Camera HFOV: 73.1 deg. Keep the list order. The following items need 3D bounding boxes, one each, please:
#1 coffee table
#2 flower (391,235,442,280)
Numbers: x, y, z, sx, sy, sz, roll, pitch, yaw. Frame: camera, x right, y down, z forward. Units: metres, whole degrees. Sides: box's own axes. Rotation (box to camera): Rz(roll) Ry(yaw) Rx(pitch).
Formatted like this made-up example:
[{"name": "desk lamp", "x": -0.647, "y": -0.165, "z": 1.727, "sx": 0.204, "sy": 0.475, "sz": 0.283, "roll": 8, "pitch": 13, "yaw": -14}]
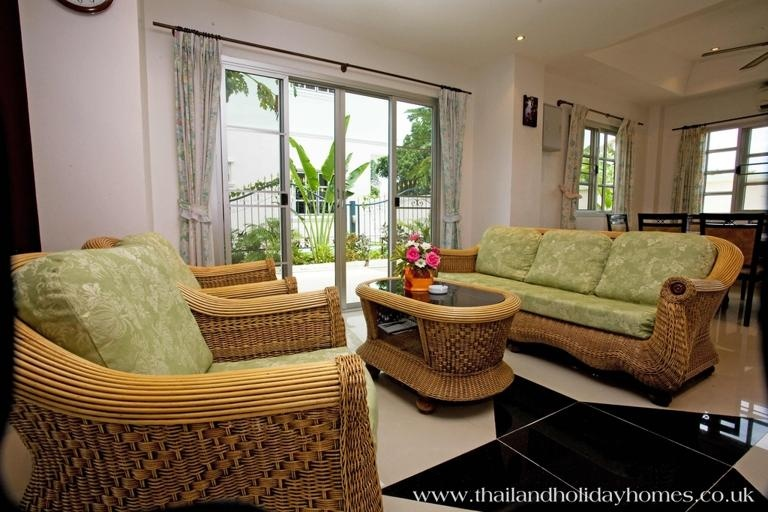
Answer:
[{"name": "coffee table", "x": 0.382, "y": 0.340, "z": 3.707, "sx": 0.853, "sy": 0.665, "sz": 1.252, "roll": -3, "pitch": 6, "yaw": -29}, {"name": "flower", "x": 0.284, "y": -0.004, "z": 4.234, "sx": 0.351, "sy": 0.362, "sz": 0.360, "roll": 4, "pitch": 6, "yaw": 36}]
